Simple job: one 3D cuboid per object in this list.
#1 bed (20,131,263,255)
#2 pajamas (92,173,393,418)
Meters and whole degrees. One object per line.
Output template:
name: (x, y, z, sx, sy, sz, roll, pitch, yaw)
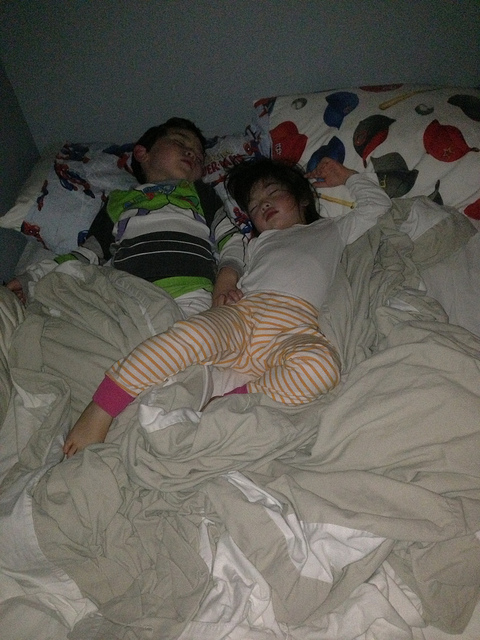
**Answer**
bed: (-0.318, -0.418, 2.004, 0.733, 0.202, 0.413, 0, 63, 1)
pajamas: (0.088, -0.035, 1.388, 0.452, 0.233, 0.742, 15, 42, 20)
